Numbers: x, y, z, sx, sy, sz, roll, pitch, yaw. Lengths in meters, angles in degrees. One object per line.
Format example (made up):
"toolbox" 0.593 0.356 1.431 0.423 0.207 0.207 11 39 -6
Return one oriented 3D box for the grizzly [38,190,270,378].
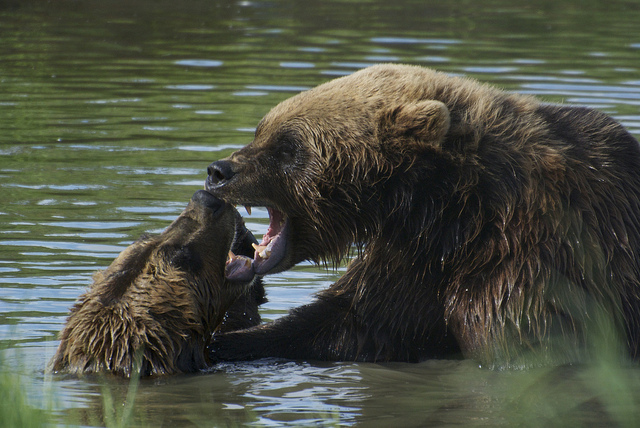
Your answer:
"grizzly" -1.346 0.566 7.892 1.621 1.446 0.735 -12 13 -39
